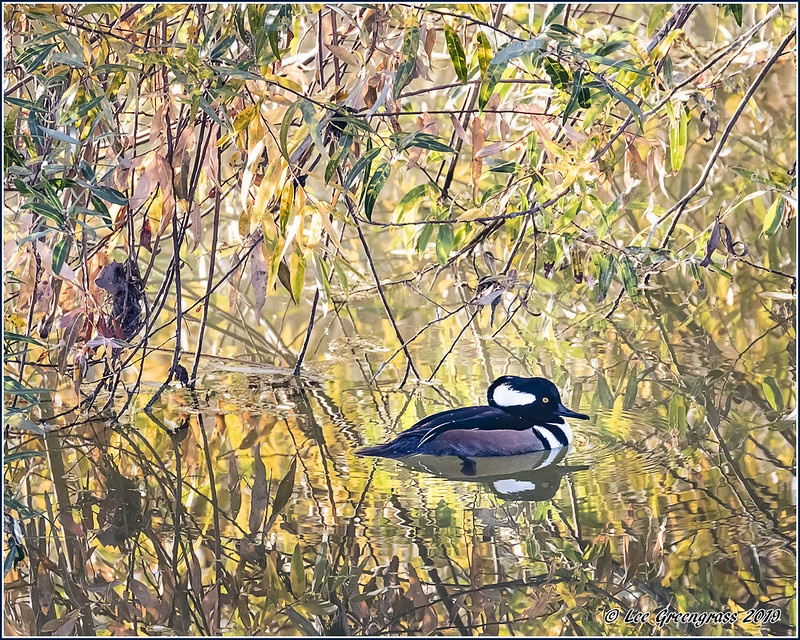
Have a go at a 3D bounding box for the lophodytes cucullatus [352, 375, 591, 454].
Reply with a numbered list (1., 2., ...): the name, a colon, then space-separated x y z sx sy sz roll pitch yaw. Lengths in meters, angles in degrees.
1. lophodytes cucullatus: 0.328 0.373 4.258 1.028 0.391 0.349 -1 8 -12
